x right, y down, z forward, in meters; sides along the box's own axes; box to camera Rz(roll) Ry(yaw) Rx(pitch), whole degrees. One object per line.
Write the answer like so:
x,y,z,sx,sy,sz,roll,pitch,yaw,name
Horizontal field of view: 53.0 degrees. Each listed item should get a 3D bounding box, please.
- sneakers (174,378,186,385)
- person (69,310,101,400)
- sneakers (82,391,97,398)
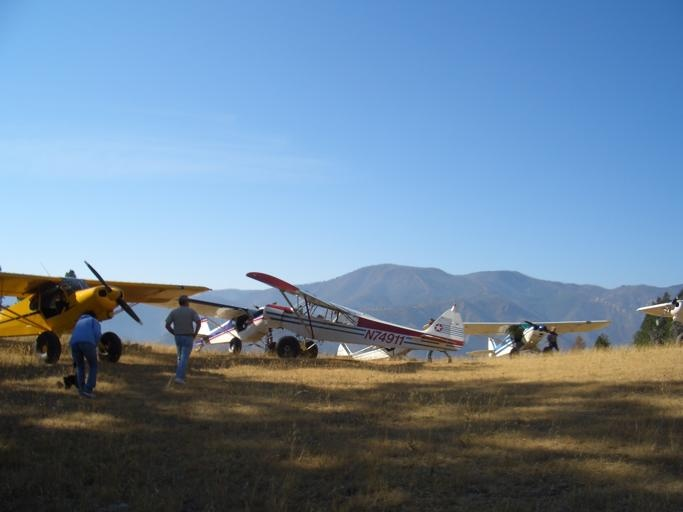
-4.165,3.215,17.540,0.296,0.152,0.269,-1,-2,-8,sneakers
-5.841,2.244,15.562,0.583,1.786,0.772,-1,-2,-10,person
-5.614,3.102,15.267,0.110,0.134,0.303,36,4,39,sneakers
